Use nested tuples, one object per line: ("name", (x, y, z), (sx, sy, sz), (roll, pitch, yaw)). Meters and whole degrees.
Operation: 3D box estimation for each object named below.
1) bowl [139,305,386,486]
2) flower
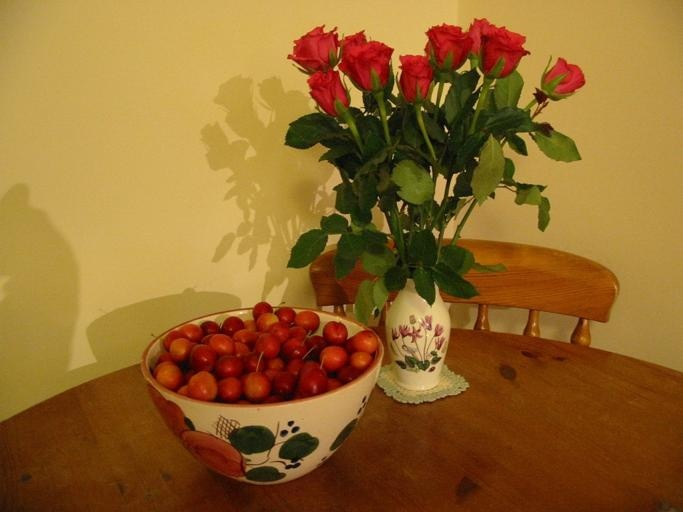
("bowl", (-0.133, 0.259, 0.874), (0.359, 0.208, 0.382), (1, 12, 0))
("flower", (0.169, -0.148, 0.905), (0.542, 0.510, 0.307), (1, 28, 9))
